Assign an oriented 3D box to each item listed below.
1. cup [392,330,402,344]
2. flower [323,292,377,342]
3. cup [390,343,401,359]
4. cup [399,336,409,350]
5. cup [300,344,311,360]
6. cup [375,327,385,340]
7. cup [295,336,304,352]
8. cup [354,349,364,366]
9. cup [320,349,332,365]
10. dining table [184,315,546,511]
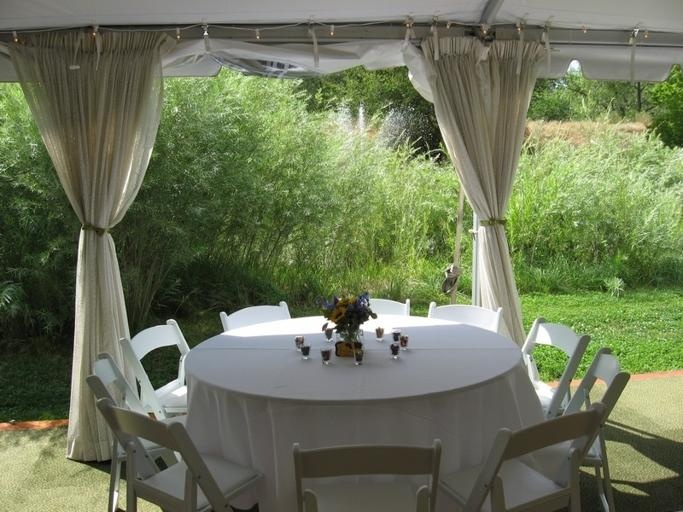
[{"bbox_3d":[0.353,0.522,4.163,0.054,0.083,0.062,0,7,2],"label":"cup"},{"bbox_3d":[0.034,0.442,4.137,0.267,0.308,0.298,-10,-3,-15],"label":"flower"},{"bbox_3d":[0.325,0.593,3.998,0.061,0.103,0.072,-1,0,-5],"label":"cup"},{"bbox_3d":[0.392,0.556,4.118,0.057,0.087,0.065,1,0,10],"label":"cup"},{"bbox_3d":[-0.235,0.605,4.041,0.058,0.084,0.069,1,-3,-9],"label":"cup"},{"bbox_3d":[0.244,0.518,4.281,0.058,0.081,0.066,0,1,-11],"label":"cup"},{"bbox_3d":[-0.274,0.561,4.071,0.064,0.092,0.072,1,2,19],"label":"cup"},{"bbox_3d":[0.100,0.621,3.933,0.063,0.085,0.071,-3,5,-23],"label":"cup"},{"bbox_3d":[-0.102,0.620,3.940,0.065,0.089,0.075,0,-2,1],"label":"cup"},{"bbox_3d":[0.117,0.805,3.727,1.166,0.563,1.309,1,5,19],"label":"dining table"}]
